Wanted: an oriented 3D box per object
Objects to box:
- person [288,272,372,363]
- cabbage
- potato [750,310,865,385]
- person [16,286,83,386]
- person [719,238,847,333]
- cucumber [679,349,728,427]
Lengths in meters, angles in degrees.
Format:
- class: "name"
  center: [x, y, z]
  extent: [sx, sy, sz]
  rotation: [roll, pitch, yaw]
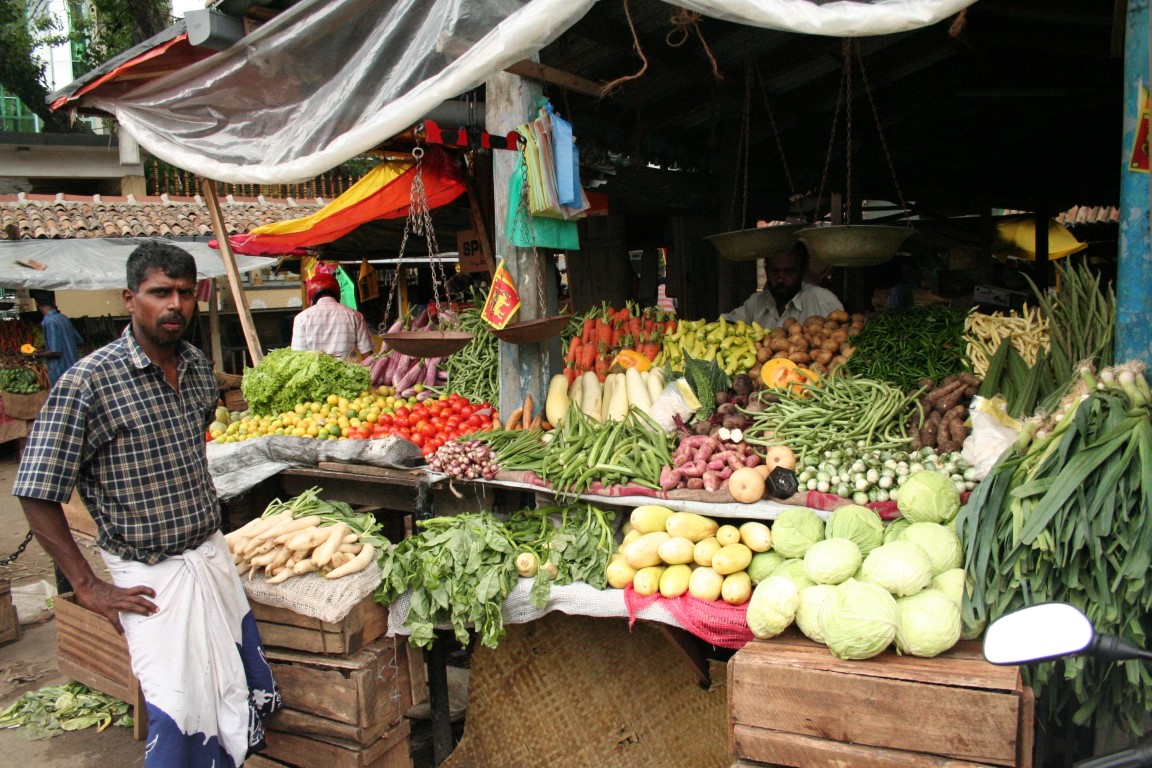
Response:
- class: "person"
  center: [-2.328, -0.445, 8.227]
  extent: [0.750, 1.233, 0.625]
  rotation: [-5, 6, -39]
- class: "cabbage"
  center: [1.408, 0.855, 4.479]
  extent: [1.105, 0.789, 0.637]
  rotation: [-1, -3, 3]
- class: "potato"
  center: [1.550, -0.273, 5.920]
  extent: [0.666, 0.468, 0.234]
  rotation: [-25, -42, 20]
- class: "person"
  center: [-6.363, -0.284, 10.823]
  extent: [0.511, 1.671, 0.629]
  rotation: [-2, 19, -10]
- class: "person"
  center: [1.614, -0.787, 7.109]
  extent: [1.078, 0.668, 0.461]
  rotation: [-1, 11, 38]
- class: "cucumber"
  center: [0.802, -0.008, 5.591]
  extent: [0.381, 0.250, 0.137]
  rotation: [-30, -11, -41]
